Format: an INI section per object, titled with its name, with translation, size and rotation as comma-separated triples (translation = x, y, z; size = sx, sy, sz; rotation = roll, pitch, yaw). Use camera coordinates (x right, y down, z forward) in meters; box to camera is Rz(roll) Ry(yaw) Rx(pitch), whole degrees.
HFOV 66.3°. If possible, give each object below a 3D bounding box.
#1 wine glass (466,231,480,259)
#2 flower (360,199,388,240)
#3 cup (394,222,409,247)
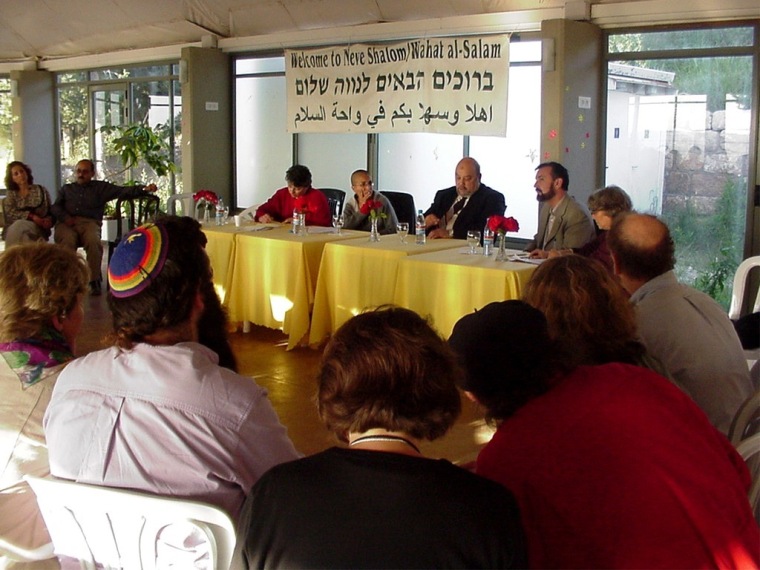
[wine glass]
translation = 0.678, -0.311, 4.156
size = 0.090, 0.148, 0.334
rotation = 2, 11, 9
[flower]
translation = -0.049, -0.565, 4.895
size = 0.168, 0.278, 0.153
rotation = -15, -11, 32
[cup]
translation = 0.187, -0.420, 4.632
size = 0.127, 0.244, 0.148
rotation = -1, 3, 0
